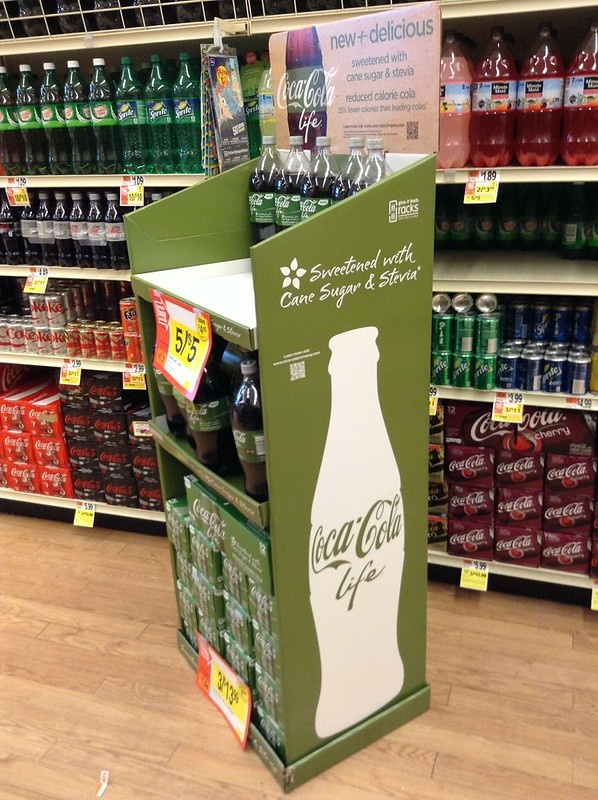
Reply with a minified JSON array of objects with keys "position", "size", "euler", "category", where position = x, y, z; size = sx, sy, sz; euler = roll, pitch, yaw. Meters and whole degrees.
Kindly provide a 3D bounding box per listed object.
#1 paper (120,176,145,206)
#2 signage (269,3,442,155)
[{"position":[-0.640,-0.804,2.408],"size":[0.084,0.111,0.062],"euler":[-12,36,-32],"category":"paper"},{"position":[0.147,-0.818,1.631],"size":[0.065,0.362,0.626],"euler":[-24,29,-34],"category":"signage"}]
